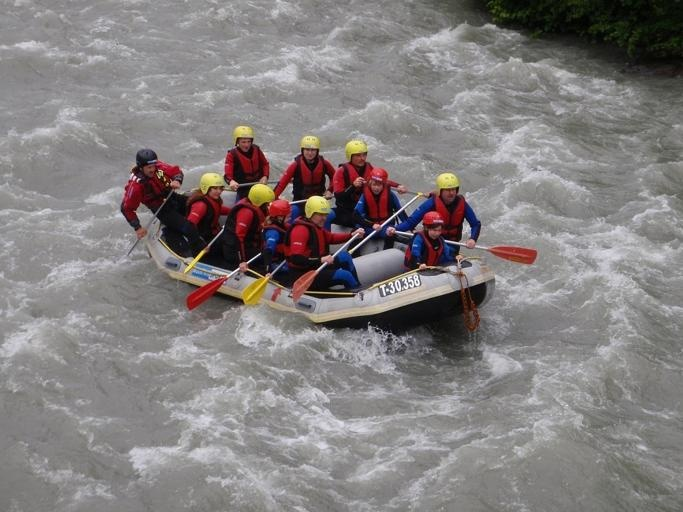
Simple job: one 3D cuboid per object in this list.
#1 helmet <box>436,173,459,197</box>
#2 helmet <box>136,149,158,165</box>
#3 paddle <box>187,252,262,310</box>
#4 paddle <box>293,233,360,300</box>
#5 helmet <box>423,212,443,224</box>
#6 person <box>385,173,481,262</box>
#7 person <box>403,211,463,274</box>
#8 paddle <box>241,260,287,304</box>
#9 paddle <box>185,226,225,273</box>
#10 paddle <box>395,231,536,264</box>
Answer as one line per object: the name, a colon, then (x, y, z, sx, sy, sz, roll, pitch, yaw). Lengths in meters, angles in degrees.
helmet: (1.681, -1.157, 15.256, 0.367, 0.291, 0.424, -4, 21, -9)
helmet: (-3.299, -1.668, 15.891, 0.332, 0.274, 0.348, -6, 72, -3)
paddle: (-1.904, 0.431, 15.449, 1.654, 0.124, 0.221, -36, 101, -31)
paddle: (-0.284, 0.195, 14.905, 1.789, 0.088, 0.298, -35, 60, -27)
helmet: (1.420, -0.603, 14.784, 0.275, 0.235, 0.249, -1, 72, -2)
person: (1.524, -0.590, 15.891, 1.274, 1.632, 0.910, -21, 46, -18)
person: (1.470, -0.206, 15.078, 0.722, 0.908, 0.628, -21, 41, -33)
paddle: (-1.221, 0.336, 15.188, 0.108, 0.357, 1.387, -15, 17, 37)
paddle: (-2.313, -0.090, 15.841, 0.159, 0.062, 1.390, 8, 35, 43)
paddle: (1.982, -0.124, 15.591, 2.120, 0.228, 0.146, 11, 24, 3)
